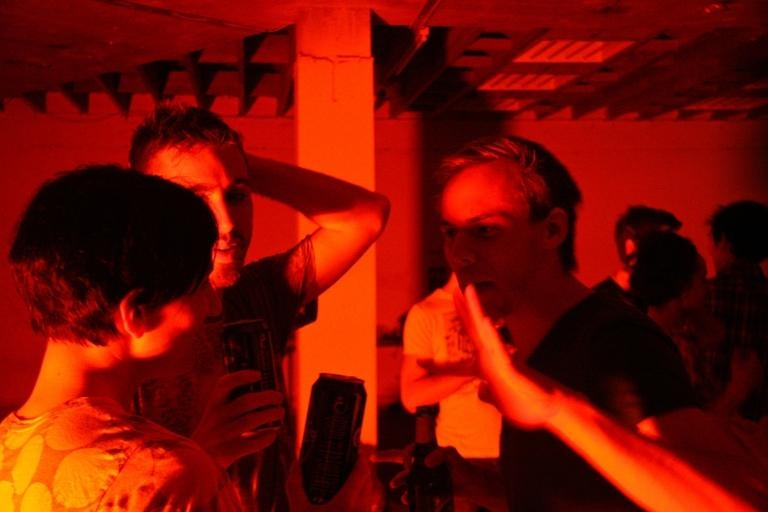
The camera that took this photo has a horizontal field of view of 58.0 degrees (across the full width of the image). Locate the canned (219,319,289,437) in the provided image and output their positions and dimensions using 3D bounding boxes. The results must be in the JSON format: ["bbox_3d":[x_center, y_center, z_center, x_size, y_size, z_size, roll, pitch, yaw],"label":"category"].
[{"bbox_3d":[-0.338,0.322,1.813,0.157,0.270,0.063,-6,-12,-19],"label":"canned"}]

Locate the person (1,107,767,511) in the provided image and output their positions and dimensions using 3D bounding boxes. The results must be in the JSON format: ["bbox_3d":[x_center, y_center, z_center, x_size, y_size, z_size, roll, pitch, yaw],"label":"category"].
[{"bbox_3d":[-0.026,0.152,2.041,1.541,1.119,0.573,3,-42,-5],"label":"person"}]
